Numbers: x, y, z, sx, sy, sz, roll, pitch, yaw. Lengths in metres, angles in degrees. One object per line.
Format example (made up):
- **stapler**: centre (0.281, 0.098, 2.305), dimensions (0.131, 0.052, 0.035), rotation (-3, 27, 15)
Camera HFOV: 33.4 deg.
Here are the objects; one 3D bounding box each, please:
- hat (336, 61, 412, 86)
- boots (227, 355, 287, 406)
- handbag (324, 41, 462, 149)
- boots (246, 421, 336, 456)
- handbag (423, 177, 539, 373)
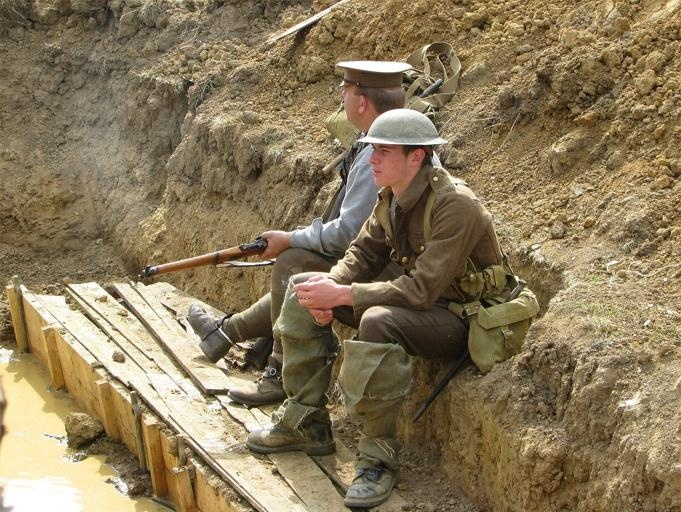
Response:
- **hat**: centre (0.253, -1.472, 9.235), dimensions (0.325, 0.117, 0.336), rotation (6, 14, 25)
- **boots**: centre (-0.656, 1.006, 9.463), dimensions (0.544, 0.434, 0.212), rotation (4, -11, -33)
- **handbag**: centre (0.597, -1.416, 10.607), dimensions (0.830, 1.340, 0.407), rotation (41, -3, 39)
- **boots**: centre (-0.391, 1.386, 8.838), dimensions (0.553, 0.324, 0.281), rotation (5, 8, 4)
- **handbag**: centre (1.045, 0.183, 8.590), dimensions (0.684, 1.378, 0.933), rotation (-8, 15, 35)
